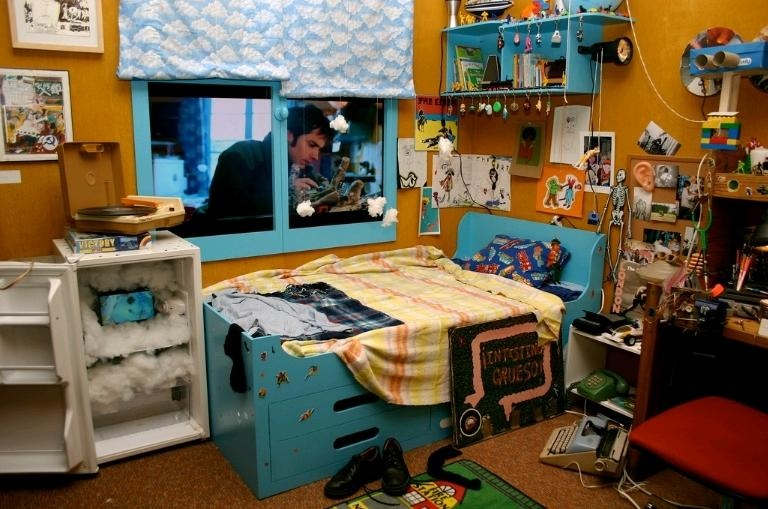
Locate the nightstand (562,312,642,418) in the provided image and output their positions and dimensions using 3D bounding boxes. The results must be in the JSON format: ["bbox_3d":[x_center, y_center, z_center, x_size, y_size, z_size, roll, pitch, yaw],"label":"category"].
[{"bbox_3d":[1.503,0.796,3.657,0.306,0.512,0.553,-1,10,-28],"label":"nightstand"}]

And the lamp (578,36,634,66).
[{"bbox_3d":[1.487,-1.369,3.739,0.204,0.157,0.294,-10,14,-36],"label":"lamp"}]

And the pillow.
[{"bbox_3d":[0.990,0.035,4.125,0.473,0.135,0.446,12,34,36],"label":"pillow"}]

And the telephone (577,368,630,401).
[{"bbox_3d":[1.458,0.874,3.706,0.280,0.154,0.325,-4,8,-30],"label":"telephone"}]

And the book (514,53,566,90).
[{"bbox_3d":[1.078,-1.292,3.855,0.381,0.239,0.162,6,16,25],"label":"book"}]

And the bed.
[{"bbox_3d":[-0.074,0.302,4.263,2.912,1.353,1.523,-15,16,-35],"label":"bed"}]
